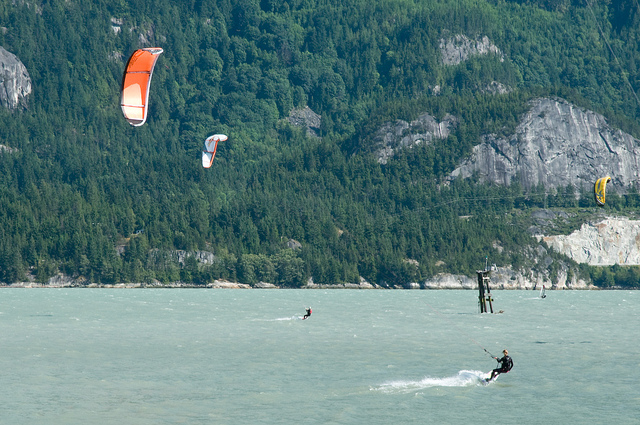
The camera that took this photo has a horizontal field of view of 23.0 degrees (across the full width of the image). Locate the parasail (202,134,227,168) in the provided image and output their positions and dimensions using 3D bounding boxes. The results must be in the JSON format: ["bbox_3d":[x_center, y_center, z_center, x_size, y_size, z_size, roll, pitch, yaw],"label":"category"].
[{"bbox_3d":[-41.084,-25.060,630.407,11.649,12.660,3.104,9,2,32],"label":"parasail"}]

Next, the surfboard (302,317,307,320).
[{"bbox_3d":[-4.924,39.425,584.015,2.314,0.600,0.621,-15,-16,4],"label":"surfboard"}]
